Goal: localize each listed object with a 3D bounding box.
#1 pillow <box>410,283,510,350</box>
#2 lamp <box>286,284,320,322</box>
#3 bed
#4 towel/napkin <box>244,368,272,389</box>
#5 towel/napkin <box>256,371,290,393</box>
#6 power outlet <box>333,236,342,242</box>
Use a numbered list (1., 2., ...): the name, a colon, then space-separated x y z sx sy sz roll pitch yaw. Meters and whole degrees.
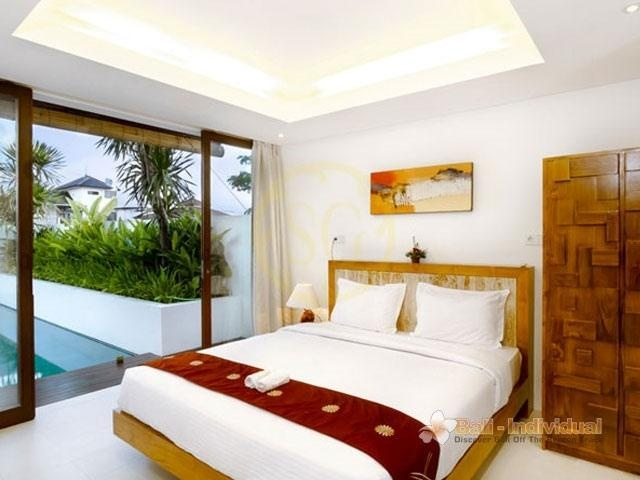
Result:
1. pillow: 1.332 0.712 3.911 0.545 0.404 0.150 1 -28 32
2. lamp: -0.144 0.826 4.992 0.342 0.547 0.350 -12 -17 22
3. bed: 0.627 0.812 3.258 1.833 1.232 2.580 2 3 38
4. towel/napkin: -0.454 0.995 3.037 0.085 0.057 0.155 0 -3 27
5. towel/napkin: -0.335 1.004 3.015 0.129 0.067 0.235 7 12 39
6. power outlet: 0.204 -0.020 5.101 0.082 0.058 0.026 1 -4 41
